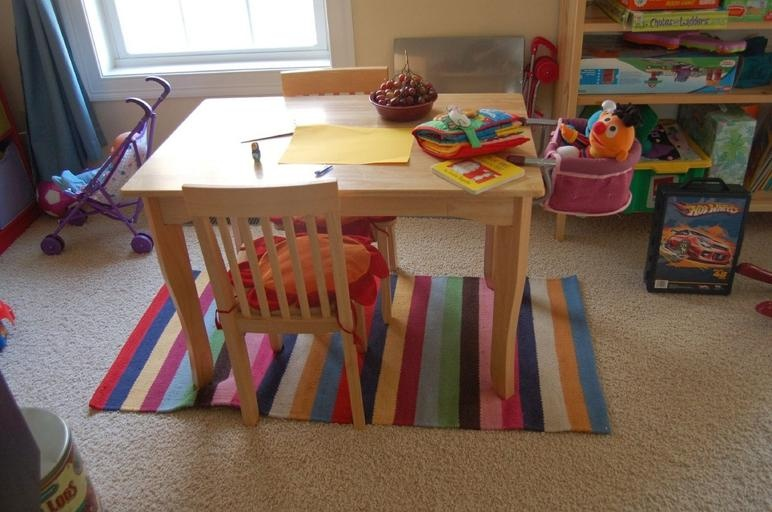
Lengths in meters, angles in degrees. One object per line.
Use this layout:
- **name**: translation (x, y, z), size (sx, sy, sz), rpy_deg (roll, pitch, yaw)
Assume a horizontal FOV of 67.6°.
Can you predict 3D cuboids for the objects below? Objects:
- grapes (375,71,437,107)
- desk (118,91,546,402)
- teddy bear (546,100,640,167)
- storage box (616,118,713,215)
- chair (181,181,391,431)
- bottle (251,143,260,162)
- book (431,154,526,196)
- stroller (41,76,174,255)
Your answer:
- **grapes**: translation (0.084, -0.796, 2.759), size (0.344, 0.128, 0.322), rpy_deg (-1, 30, 6)
- **desk**: translation (-0.120, 0.319, 3.209), size (2.106, 1.513, 1.339), rpy_deg (-1, 40, 3)
- **teddy bear**: translation (0.934, -0.565, 2.593), size (0.356, 0.243, 0.369), rpy_deg (6, 32, 15)
- **storage box**: translation (1.596, -0.516, 3.321), size (0.373, 0.220, 0.498), rpy_deg (-1, 34, 8)
- **chair**: translation (-0.414, 0.163, 2.434), size (0.618, 1.085, 0.450), rpy_deg (0, 31, 6)
- **bottle**: translation (-0.554, -0.440, 2.458), size (0.042, 0.081, 0.033), rpy_deg (-4, 2, -1)
- **book**: translation (0.364, -0.332, 2.314), size (0.301, 0.056, 0.253), rpy_deg (-18, 34, -23)
- **stroller**: translation (-1.684, -0.531, 3.422), size (0.720, 1.012, 0.536), rpy_deg (8, 45, -15)
